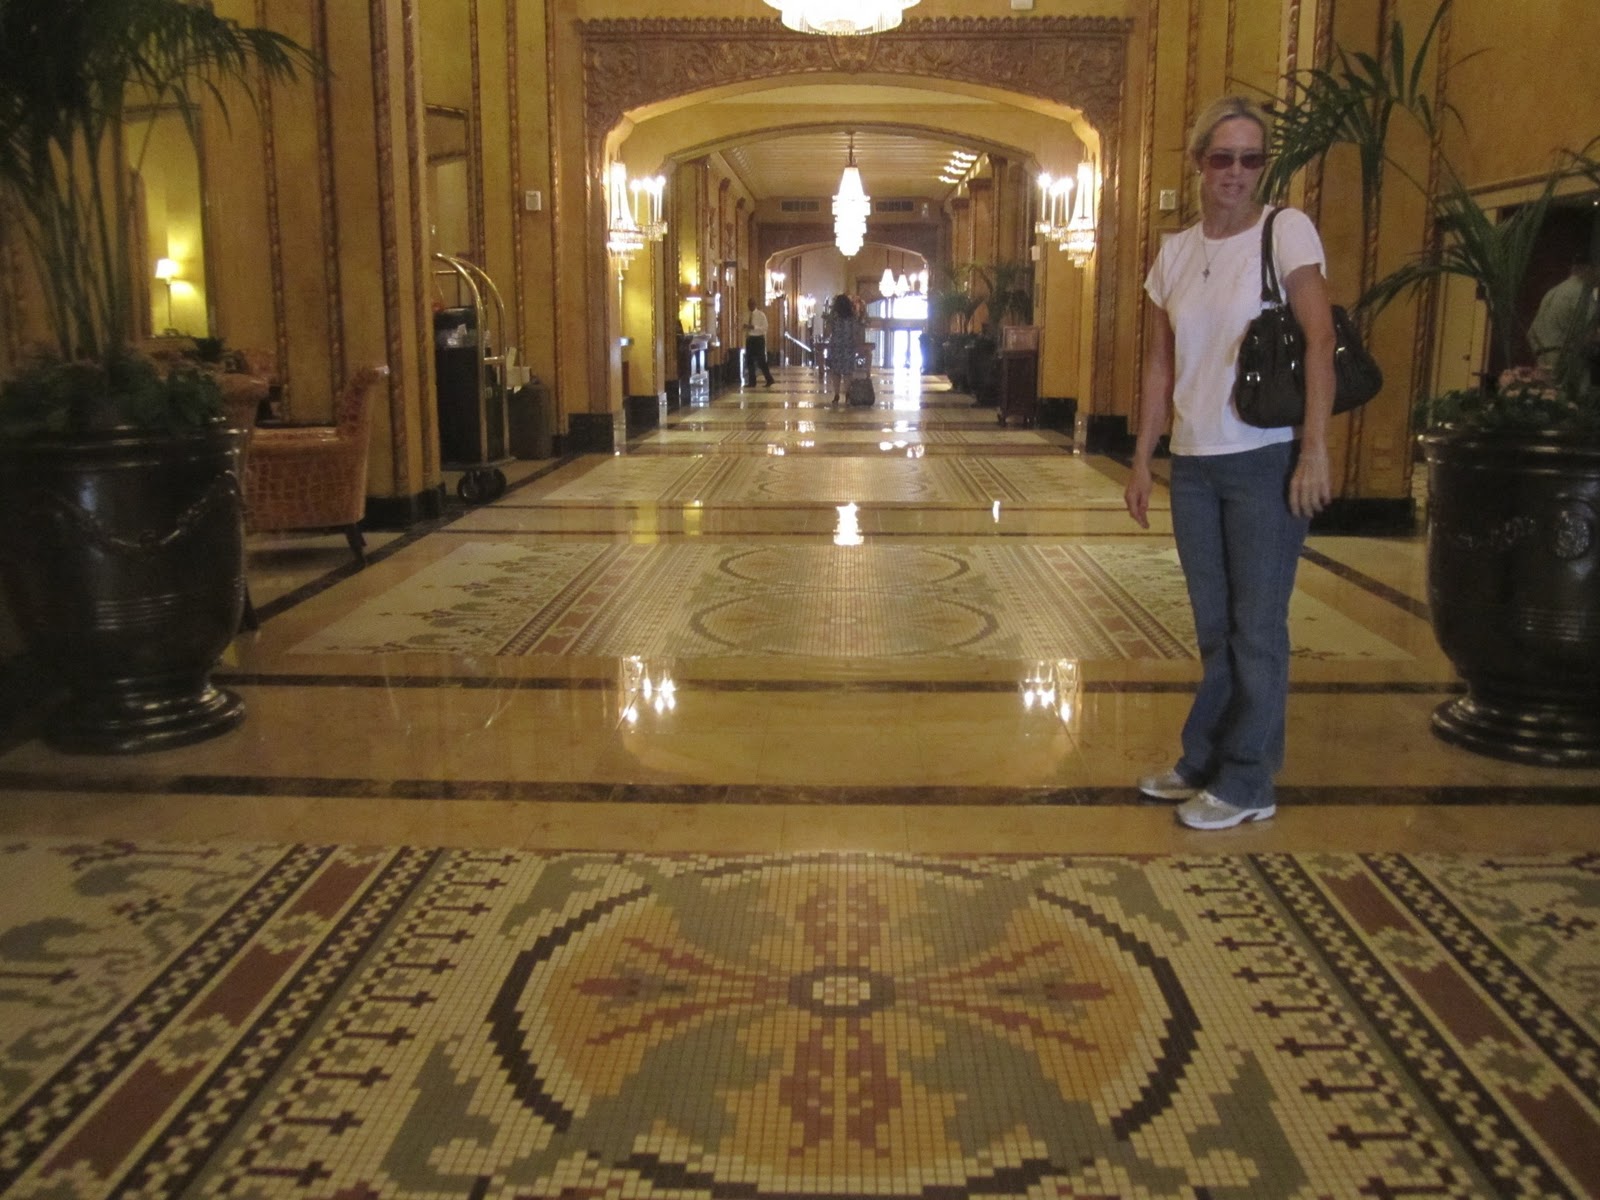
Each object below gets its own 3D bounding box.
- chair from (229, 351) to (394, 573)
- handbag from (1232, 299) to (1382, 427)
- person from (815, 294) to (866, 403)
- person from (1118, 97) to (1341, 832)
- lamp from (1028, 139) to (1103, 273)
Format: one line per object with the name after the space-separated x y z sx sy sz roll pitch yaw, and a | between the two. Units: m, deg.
-2.863 -0.826 7.197 1.229 1.276 1.060 1 9 -7 | chair
1.356 -0.616 3.127 0.389 0.332 0.159 -4 15 -14 | handbag
0.681 -4.128 19.525 0.685 1.722 0.973 0 15 2 | person
1.161 -0.349 3.278 0.579 1.978 0.392 10 18 36 | person
3.186 -4.569 14.033 0.671 1.167 2.668 2 15 12 | lamp
